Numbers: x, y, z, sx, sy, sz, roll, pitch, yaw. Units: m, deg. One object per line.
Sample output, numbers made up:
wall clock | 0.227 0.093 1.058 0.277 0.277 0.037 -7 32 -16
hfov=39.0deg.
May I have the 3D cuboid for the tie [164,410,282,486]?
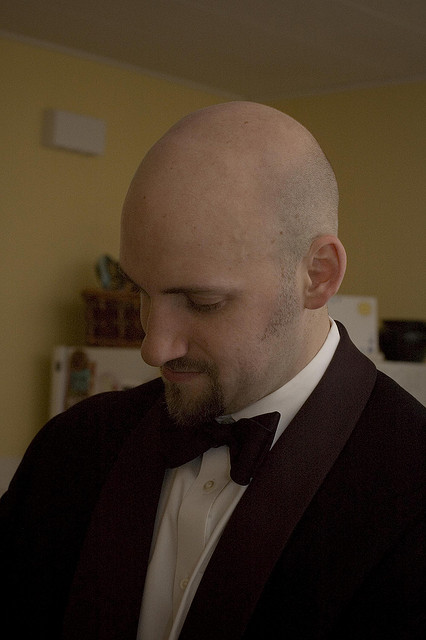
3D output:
tie | 0.002 0.138 0.656 0.139 0.088 0.027 23 -6 -34
